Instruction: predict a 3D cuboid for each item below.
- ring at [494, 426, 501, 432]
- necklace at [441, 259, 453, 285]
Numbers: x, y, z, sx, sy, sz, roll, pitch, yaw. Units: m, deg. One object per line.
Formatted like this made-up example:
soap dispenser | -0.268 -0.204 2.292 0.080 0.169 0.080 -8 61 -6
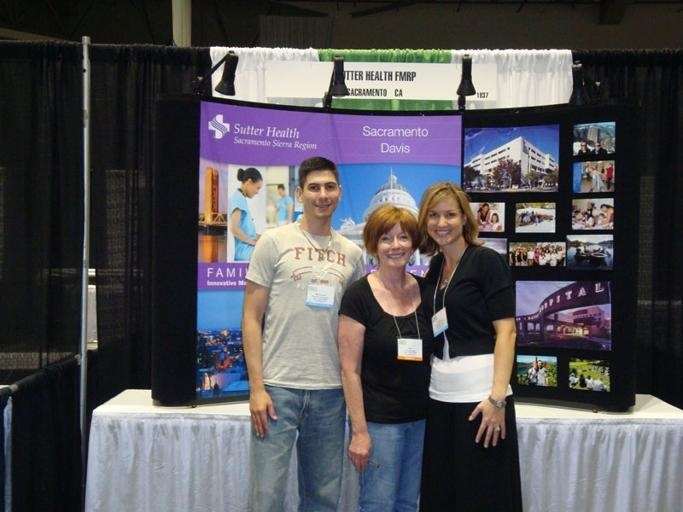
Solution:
ring | 0.932 1.038 5.015 0.029 0.054 0.034 -1 5 -9
necklace | 0.651 0.101 5.201 0.087 0.138 0.030 1 -9 27
